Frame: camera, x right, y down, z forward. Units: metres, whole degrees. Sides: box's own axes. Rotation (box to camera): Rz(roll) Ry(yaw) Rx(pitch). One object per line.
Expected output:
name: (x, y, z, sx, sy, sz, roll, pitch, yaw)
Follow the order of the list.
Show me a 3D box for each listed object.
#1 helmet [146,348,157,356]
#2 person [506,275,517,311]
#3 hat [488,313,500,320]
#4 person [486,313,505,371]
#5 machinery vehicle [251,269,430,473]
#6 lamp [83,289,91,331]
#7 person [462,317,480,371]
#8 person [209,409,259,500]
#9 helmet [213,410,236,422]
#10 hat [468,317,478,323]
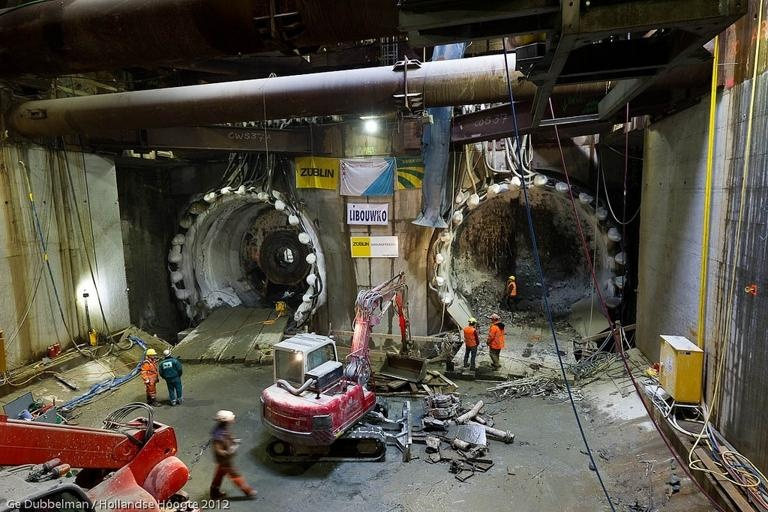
helmet: (-6.142, 2.585, 13.670, 0.208, 0.207, 0.403, -3, 4, -22)
person: (4.726, 1.378, 19.134, 0.387, 1.381, 2.023, 0, 4, 14)
hat: (3.552, 1.993, 16.866, 0.433, 0.116, 0.452, -2, 2, 1)
person: (3.227, 2.472, 15.078, 0.439, 1.627, 0.997, 0, 5, 11)
machinery vehicle: (-0.849, 2.790, 12.875, 4.024, 3.818, 2.899, -5, 4, -45)
lamp: (-9.121, 1.706, 15.982, 0.108, 1.356, 0.233, 1, 5, 28)
person: (2.521, 2.535, 15.181, 0.402, 1.529, 1.063, 0, 5, 8)
person: (-3.161, 4.073, 10.666, 0.929, 1.938, 0.670, -2, 5, -10)
helmet: (-3.164, 3.222, 10.397, 0.292, 0.205, 0.276, -2, 4, -4)
hat: (2.527, 1.888, 14.882, 0.272, 0.175, 0.429, -2, -1, 10)
